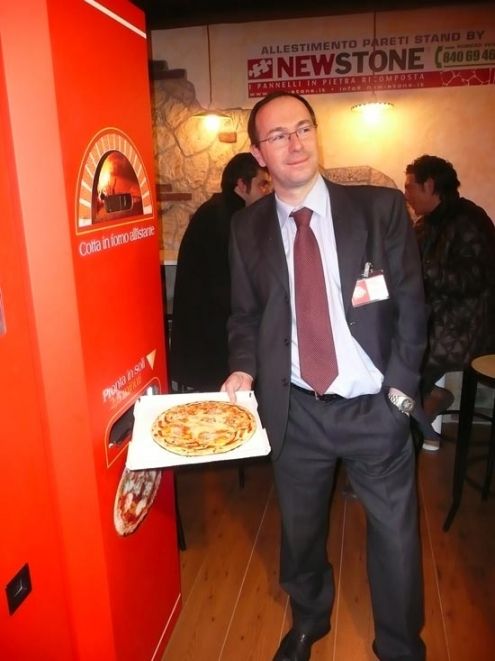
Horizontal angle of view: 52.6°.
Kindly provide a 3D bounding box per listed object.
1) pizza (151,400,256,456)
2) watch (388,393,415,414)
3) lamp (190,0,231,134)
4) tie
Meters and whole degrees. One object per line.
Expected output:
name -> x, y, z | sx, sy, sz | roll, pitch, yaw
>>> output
pizza -> -0.089, 0.245, 1.304 | 0.236, 0.270, 0.024 | -17, 44, 21
watch -> 0.422, 0.196, 1.381 | 0.069, 0.068, 0.038 | 2, 9, 17
lamp -> -0.285, -1.953, 3.914 | 0.273, 0.787, 0.180 | 0, 9, 5
tie -> 0.179, -0.057, 1.433 | 0.102, 0.638, 0.039 | 1, 36, 19
